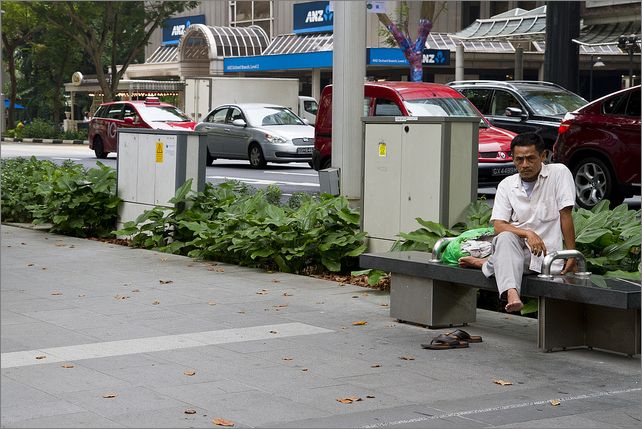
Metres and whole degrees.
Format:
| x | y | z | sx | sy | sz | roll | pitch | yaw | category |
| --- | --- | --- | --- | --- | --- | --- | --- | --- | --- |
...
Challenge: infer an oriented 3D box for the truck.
| x | y | z | sx | sy | sz | roll | pitch | yaw | category |
| --- | --- | --- | --- | --- | --- | --- | --- | --- | --- |
| -3.559 | -5.693 | 34.708 | 5.563 | 2.804 | 2.948 | -3 | 7 | -19 | truck |

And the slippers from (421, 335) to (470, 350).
| x | y | z | sx | sy | sz | roll | pitch | yaw | category |
| --- | --- | --- | --- | --- | --- | --- | --- | --- | --- |
| 1.124 | 1.126 | 6.413 | 0.344 | 0.102 | 0.162 | 1 | 0 | -12 | slippers |

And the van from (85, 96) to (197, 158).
| x | y | z | sx | sy | sz | roll | pitch | yaw | category |
| --- | --- | --- | --- | --- | --- | --- | --- | --- | --- |
| -7.214 | -3.688 | 28.058 | 5.099 | 2.355 | 3.232 | 0 | 2 | 43 | van |

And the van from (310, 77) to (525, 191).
| x | y | z | sx | sy | sz | roll | pitch | yaw | category |
| --- | --- | --- | --- | --- | --- | --- | --- | --- | --- |
| 2.231 | -1.847 | 16.428 | 4.050 | 1.998 | 2.550 | 2 | 4 | 43 | van |

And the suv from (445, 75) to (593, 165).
| x | y | z | sx | sy | sz | roll | pitch | yaw | category |
| --- | --- | --- | --- | --- | --- | --- | --- | --- | --- |
| 5.149 | -2.612 | 18.178 | 1.783 | 1.487 | 3.779 | -5 | 7 | -43 | suv |

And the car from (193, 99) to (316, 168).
| x | y | z | sx | sy | sz | roll | pitch | yaw | category |
| --- | --- | --- | --- | --- | --- | --- | --- | --- | --- |
| -2.206 | -2.673 | 23.994 | 2.290 | 1.557 | 3.871 | -1 | 3 | -39 | car |

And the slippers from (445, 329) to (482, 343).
| x | y | z | sx | sy | sz | roll | pitch | yaw | category |
| --- | --- | --- | --- | --- | --- | --- | --- | --- | --- |
| 1.322 | 1.130 | 6.560 | 0.310 | 0.090 | 0.137 | 9 | -2 | -23 | slippers |
